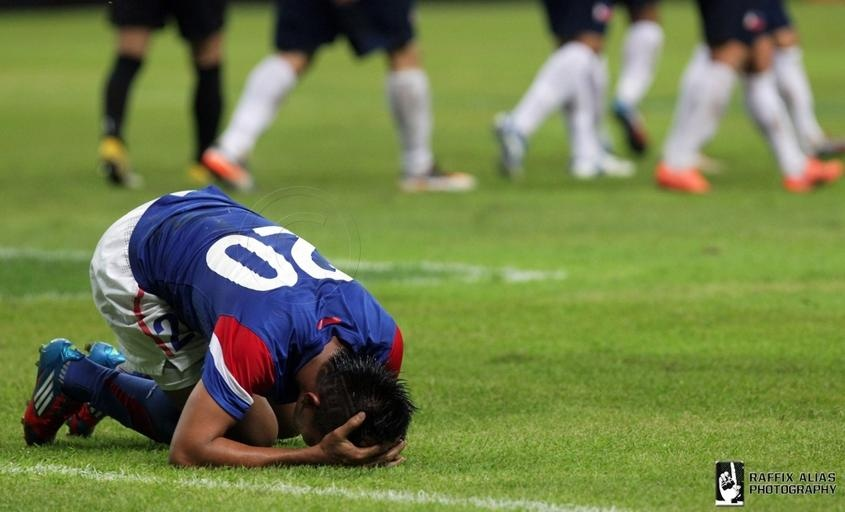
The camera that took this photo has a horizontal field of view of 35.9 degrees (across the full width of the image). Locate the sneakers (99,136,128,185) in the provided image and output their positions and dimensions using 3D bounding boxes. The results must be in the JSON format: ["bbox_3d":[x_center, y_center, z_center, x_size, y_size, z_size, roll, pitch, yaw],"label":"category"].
[{"bbox_3d":[-1.712,-0.540,7.298,0.153,0.236,0.225,-14,-3,-3],"label":"sneakers"}]

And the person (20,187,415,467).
[{"bbox_3d":[-0.800,0.312,5.576,1.645,0.951,0.966,20,28,24],"label":"person"}]

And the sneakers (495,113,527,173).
[{"bbox_3d":[0.469,-0.564,6.515,0.125,0.284,0.165,11,26,37],"label":"sneakers"}]

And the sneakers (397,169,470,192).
[{"bbox_3d":[0.092,-0.372,6.538,0.281,0.067,0.132,0,1,6],"label":"sneakers"}]
